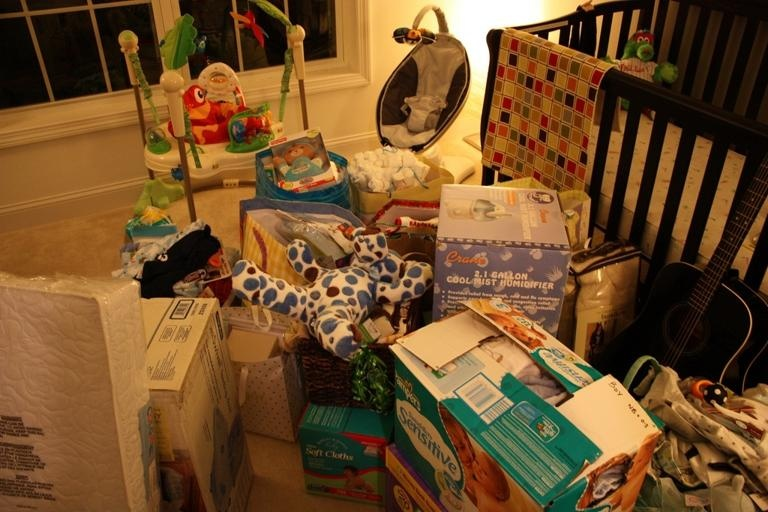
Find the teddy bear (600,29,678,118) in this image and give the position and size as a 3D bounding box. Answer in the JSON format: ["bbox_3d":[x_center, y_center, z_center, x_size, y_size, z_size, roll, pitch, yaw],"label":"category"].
[{"bbox_3d":[1.432,-1.034,3.157,0.416,0.454,0.217,4,-7,6],"label":"teddy bear"}]

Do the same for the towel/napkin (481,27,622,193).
[{"bbox_3d":[0.782,-0.664,2.638,0.098,0.727,0.742,-17,42,-26],"label":"towel/napkin"}]

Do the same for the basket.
[{"bbox_3d":[-0.085,0.368,2.322,0.474,0.470,0.361,-3,49,-9],"label":"basket"}]

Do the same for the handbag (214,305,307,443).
[{"bbox_3d":[-0.487,0.470,2.206,0.434,0.437,0.318,12,44,10],"label":"handbag"}]
